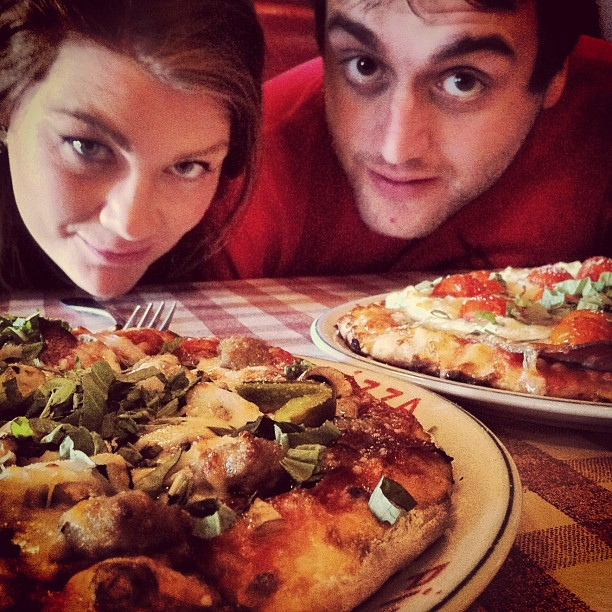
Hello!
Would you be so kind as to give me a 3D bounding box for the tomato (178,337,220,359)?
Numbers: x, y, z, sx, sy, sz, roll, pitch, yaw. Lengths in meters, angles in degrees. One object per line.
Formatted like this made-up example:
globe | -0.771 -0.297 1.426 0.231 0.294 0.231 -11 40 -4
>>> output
tomato | -0.227 0.081 1.423 0.051 0.016 0.055 1 11 -32
